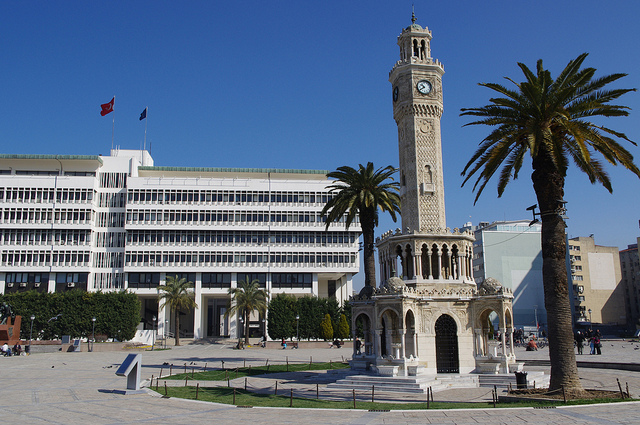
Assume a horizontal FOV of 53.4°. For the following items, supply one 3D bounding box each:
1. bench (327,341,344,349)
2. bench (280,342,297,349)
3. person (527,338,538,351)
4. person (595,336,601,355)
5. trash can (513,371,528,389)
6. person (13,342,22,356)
[{"bbox_3d":[2.082,19.184,92.399,2.122,1.207,0.954,-10,-8,29],"label":"bench"},{"bbox_3d":[-4.686,19.498,93.713,2.506,1.039,7.139,0,-13,-3],"label":"bench"},{"bbox_3d":[26.272,16.277,78.785,1.022,1.475,3.164,-5,-14,19],"label":"person"},{"bbox_3d":[30.070,14.353,69.107,0.479,1.927,1.234,-5,-14,20],"label":"person"},{"bbox_3d":[15.339,12.976,49.273,0.999,1.198,1.031,-10,-17,33],"label":"trash can"},{"bbox_3d":[-35.713,16.149,75.106,0.752,1.320,2.219,5,-14,-23],"label":"person"}]
